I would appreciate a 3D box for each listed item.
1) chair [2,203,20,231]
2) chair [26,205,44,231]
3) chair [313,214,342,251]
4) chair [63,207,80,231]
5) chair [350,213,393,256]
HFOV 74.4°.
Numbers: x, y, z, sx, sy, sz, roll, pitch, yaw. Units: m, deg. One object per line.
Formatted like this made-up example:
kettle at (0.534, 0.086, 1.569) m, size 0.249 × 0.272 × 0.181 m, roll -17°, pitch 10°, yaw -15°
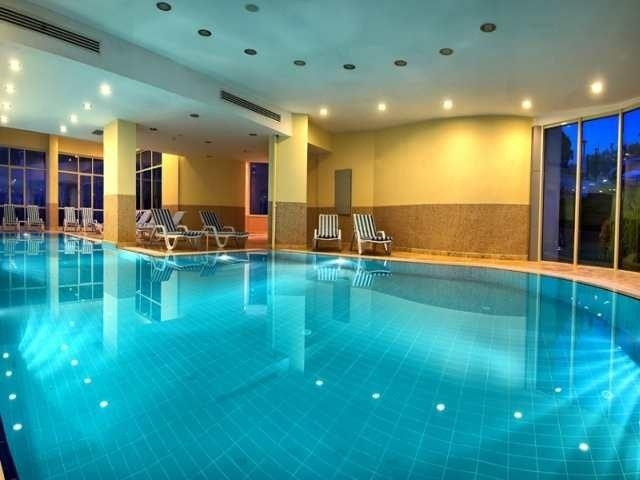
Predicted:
chair at (-12.845, -0.915, 17.427) m, size 0.550 × 1.073 × 0.917 m, roll -7°, pitch 13°, yaw -37°
chair at (-12.211, -0.944, 18.085) m, size 0.573 × 1.063 × 0.947 m, roll -5°, pitch 12°, yaw -31°
chair at (0.161, -0.223, 10.789) m, size 0.733 × 0.881 × 1.139 m, roll 0°, pitch 0°, yaw 16°
chair at (-10.847, -0.924, 18.296) m, size 0.763 × 1.066 × 1.568 m, roll -1°, pitch 8°, yaw -34°
chair at (1.238, -0.139, 10.512) m, size 0.697 × 1.044 × 1.163 m, roll 2°, pitch 1°, yaw -15°
